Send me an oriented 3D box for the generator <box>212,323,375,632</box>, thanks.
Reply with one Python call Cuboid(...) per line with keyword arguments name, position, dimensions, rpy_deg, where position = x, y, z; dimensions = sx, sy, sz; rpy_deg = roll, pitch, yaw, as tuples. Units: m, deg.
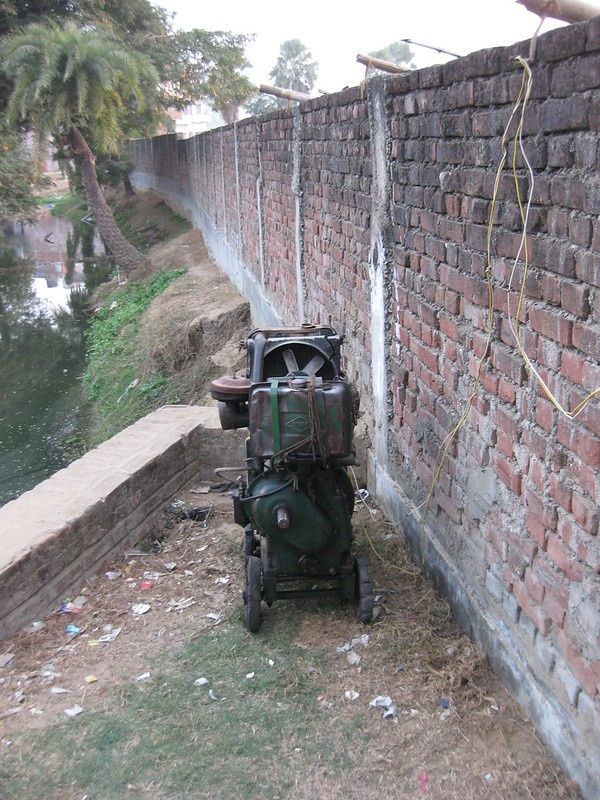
Cuboid(name="generator", position=(-0.032, 0.334, 3.365), dimensions=(0.683, 1.441, 1.472), rpy_deg=(-3, 10, 0))
